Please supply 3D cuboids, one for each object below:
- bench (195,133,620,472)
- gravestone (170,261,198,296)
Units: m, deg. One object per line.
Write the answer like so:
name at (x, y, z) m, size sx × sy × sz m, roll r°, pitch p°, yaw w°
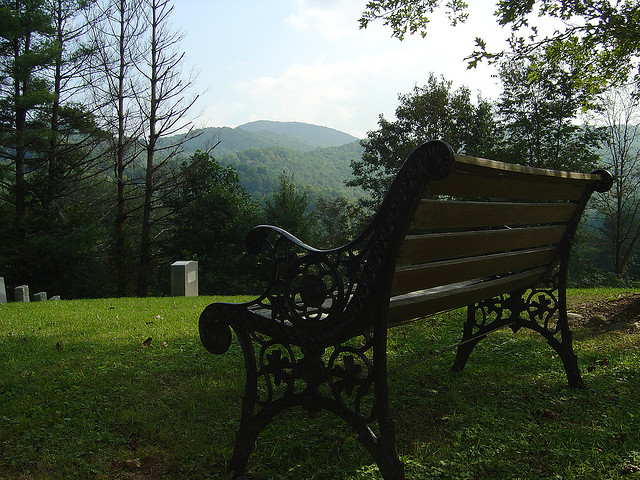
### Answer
bench at (0.954, 0.447, 4.665) m, size 2.872 × 2.728 × 3.759 m, roll 5°, pitch 12°, yaw 31°
gravestone at (-3.776, 1.085, 13.741) m, size 0.334 × 1.042 × 1.076 m, roll 3°, pitch 3°, yaw 18°
